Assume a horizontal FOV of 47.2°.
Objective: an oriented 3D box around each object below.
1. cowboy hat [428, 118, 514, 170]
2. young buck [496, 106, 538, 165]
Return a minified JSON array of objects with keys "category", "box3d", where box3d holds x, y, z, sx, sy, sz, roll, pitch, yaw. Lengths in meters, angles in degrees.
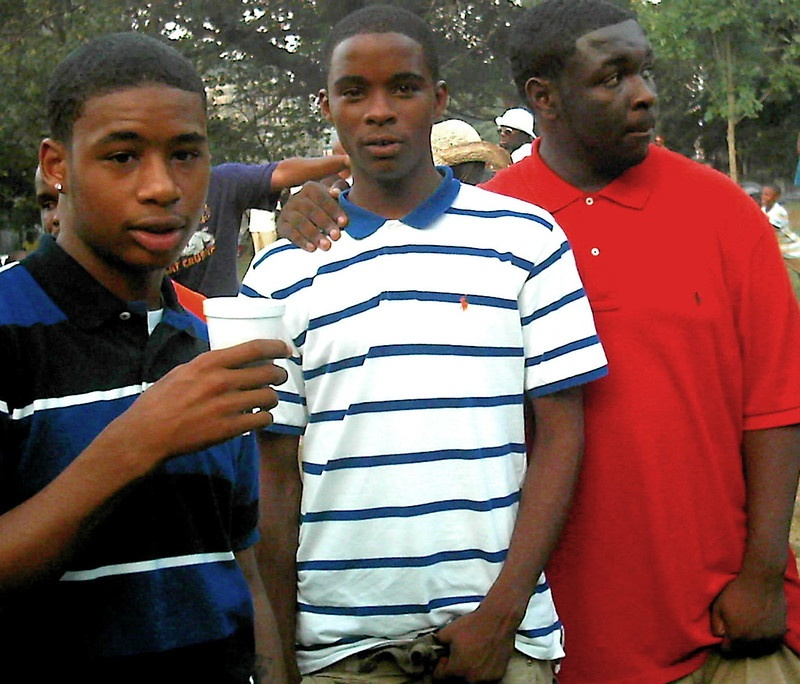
[{"category":"cowboy hat","box3d":[0.337,-1.016,4.835,0.488,0.197,0.595,15,9,-12]},{"category":"young buck","box3d":[1.013,-1.783,8.032,0.396,0.436,0.353,-2,16,-32]}]
